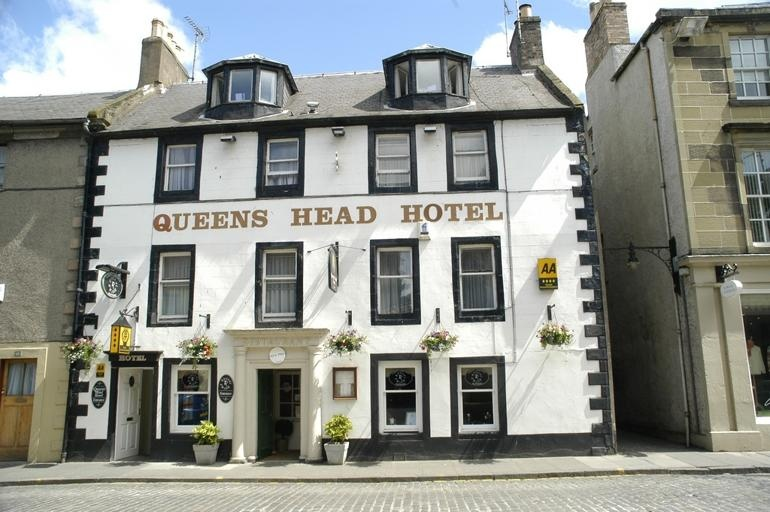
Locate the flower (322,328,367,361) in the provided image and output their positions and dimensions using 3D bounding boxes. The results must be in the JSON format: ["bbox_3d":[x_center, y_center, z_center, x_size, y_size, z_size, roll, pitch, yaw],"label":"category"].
[{"bbox_3d":[-1.239,2.985,23.863,1.038,0.638,1.125,-5,-9,39],"label":"flower"}]

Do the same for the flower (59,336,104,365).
[{"bbox_3d":[-10.515,3.288,24.145,1.118,0.749,1.087,8,-20,-27],"label":"flower"}]

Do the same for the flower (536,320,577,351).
[{"bbox_3d":[5.862,2.602,23.525,0.971,0.652,0.929,9,-11,-44],"label":"flower"}]

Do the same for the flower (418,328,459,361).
[{"bbox_3d":[1.821,2.993,23.631,1.048,0.640,1.034,-1,-4,15],"label":"flower"}]

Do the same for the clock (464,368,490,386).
[{"bbox_3d":[3.162,4.112,23.759,0.645,0.453,0.089,-1,-12,3],"label":"clock"}]

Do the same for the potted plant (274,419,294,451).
[{"bbox_3d":[-3.688,6.428,25.260,0.652,1.086,0.325,5,-15,-18],"label":"potted plant"}]

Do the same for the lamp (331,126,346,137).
[{"bbox_3d":[-1.649,-4.470,24.962,0.495,0.293,0.357,2,-14,-6],"label":"lamp"}]

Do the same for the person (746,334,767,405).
[{"bbox_3d":[12.420,3.789,23.196,0.704,2.251,0.307,6,-15,-20],"label":"person"}]

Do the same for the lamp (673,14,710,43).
[{"bbox_3d":[10.624,-7.892,24.111,1.065,0.612,0.881,-6,-15,24],"label":"lamp"}]

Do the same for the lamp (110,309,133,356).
[{"bbox_3d":[-9.053,2.574,23.877,0.519,1.434,1.075,1,-14,-5],"label":"lamp"}]

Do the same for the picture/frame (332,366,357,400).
[{"bbox_3d":[-1.368,4.332,23.711,1.173,1.267,0.144,0,-11,0],"label":"picture/frame"}]

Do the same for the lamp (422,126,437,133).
[{"bbox_3d":[1.589,-4.486,24.806,0.339,0.157,0.235,-1,-6,0],"label":"lamp"}]

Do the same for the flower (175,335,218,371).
[{"bbox_3d":[-6.409,3.287,24.246,1.109,1.241,1.283,-10,-10,27],"label":"flower"}]

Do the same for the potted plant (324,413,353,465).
[{"bbox_3d":[-1.565,6.026,23.129,0.917,1.616,0.799,1,-14,-5],"label":"potted plant"}]

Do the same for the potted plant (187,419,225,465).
[{"bbox_3d":[-5.928,6.365,23.815,1.351,1.696,1.238,-2,-14,5],"label":"potted plant"}]
